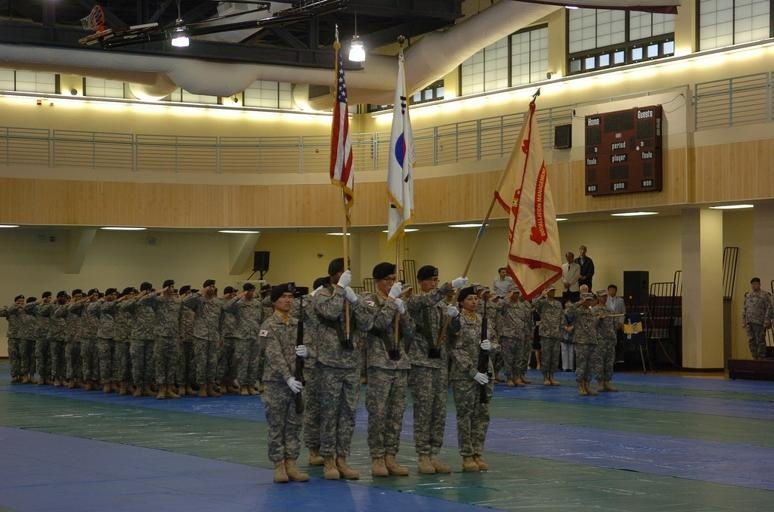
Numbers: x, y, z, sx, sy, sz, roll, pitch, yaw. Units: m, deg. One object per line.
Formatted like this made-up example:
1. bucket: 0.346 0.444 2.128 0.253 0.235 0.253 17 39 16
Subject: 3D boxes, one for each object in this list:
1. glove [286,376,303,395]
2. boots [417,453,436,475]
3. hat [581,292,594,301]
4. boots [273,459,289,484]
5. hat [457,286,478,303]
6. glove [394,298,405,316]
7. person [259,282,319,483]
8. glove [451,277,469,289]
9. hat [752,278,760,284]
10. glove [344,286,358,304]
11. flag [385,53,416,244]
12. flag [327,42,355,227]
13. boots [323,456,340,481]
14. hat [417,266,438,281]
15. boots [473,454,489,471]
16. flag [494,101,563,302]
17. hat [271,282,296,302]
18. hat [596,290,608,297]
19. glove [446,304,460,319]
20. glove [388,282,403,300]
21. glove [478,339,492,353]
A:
1. glove: -1.372 1.872 12.920 0.071 0.169 0.256 -5 -50 52
2. boots: 0.568 3.135 13.386 0.257 0.289 0.178 0 -7 6
3. hat: 4.496 0.921 20.304 0.253 0.157 0.300 0 -7 12
4. boots: -1.551 3.147 12.959 0.229 0.305 0.112 2 -7 -6
5. hat: 1.213 0.643 14.020 0.241 0.109 0.272 -15 -11 -45
6. glove: 0.170 0.759 13.304 0.176 0.228 0.092 -16 7 -23
7. person: -1.541 1.858 13.190 0.749 2.905 0.511 -1 -7 15
8. glove: 1.073 0.413 13.427 0.259 0.118 0.339 -2 -4 1
9. hat: 9.558 0.652 23.282 0.169 0.165 0.207 1 -37 12
10. glove: -0.563 0.573 13.143 0.100 0.231 0.168 -35 14 2
11. flag: 0.192 -1.763 14.078 0.415 3.056 0.447 1 -7 -1
12. flag: -0.726 -2.019 14.071 0.340 3.175 0.949 2 -7 -3
13. boots: -0.834 3.157 13.186 0.258 0.306 0.218 -2 -7 24
14. hat: 0.575 0.261 13.738 0.279 0.169 0.199 -19 -11 28
15. boots: 1.396 3.193 13.600 0.132 0.268 0.283 10 -28 -29
16. flag: 2.286 -0.876 14.415 0.969 3.100 0.556 0 -7 6
17. hat: -1.635 0.527 13.490 0.258 0.285 0.326 -4 -44 -29
18. hat: 4.916 0.869 20.709 0.173 0.090 0.231 -1 0 -15
19. glove: 0.966 0.849 13.592 0.142 0.210 0.227 2 -29 -9
20. glove: 0.098 0.521 13.362 0.182 0.273 0.317 1 -7 -1
21. glove: 1.480 1.373 13.641 0.141 0.186 0.312 0 -7 12
